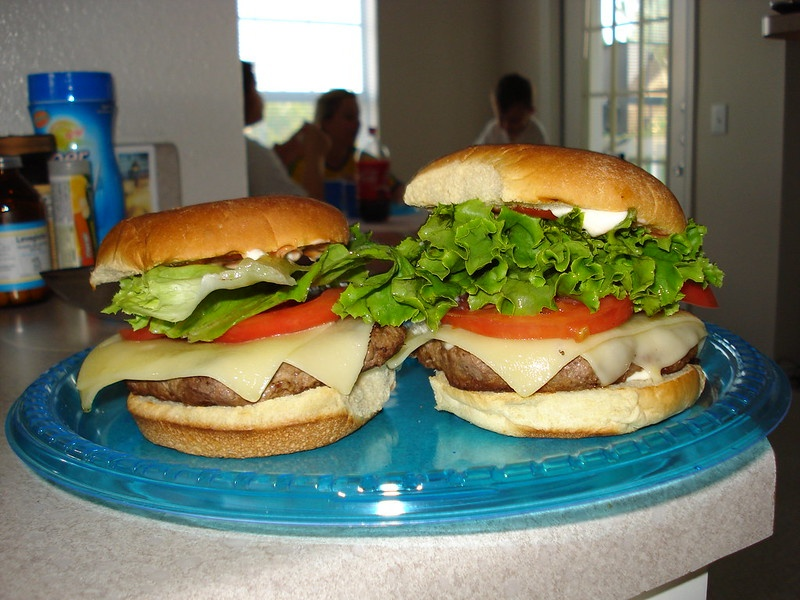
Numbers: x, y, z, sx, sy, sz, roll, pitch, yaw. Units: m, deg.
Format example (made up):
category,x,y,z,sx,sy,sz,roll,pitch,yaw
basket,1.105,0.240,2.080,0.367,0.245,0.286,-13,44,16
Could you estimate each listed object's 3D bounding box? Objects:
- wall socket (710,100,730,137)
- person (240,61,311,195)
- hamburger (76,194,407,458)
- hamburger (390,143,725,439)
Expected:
category,x,y,z,sx,sy,sz,roll,pitch,yaw
wall socket,2.261,-1.296,4.598,0.047,0.217,0.133,-14,18,-29
person,-0.789,-0.948,3.736,0.326,0.761,0.977,-5,15,-1
hamburger,-0.426,0.016,1.552,0.669,0.396,0.589,-8,1,-24
hamburger,0.386,-0.064,1.609,0.687,0.524,0.672,1,7,12
